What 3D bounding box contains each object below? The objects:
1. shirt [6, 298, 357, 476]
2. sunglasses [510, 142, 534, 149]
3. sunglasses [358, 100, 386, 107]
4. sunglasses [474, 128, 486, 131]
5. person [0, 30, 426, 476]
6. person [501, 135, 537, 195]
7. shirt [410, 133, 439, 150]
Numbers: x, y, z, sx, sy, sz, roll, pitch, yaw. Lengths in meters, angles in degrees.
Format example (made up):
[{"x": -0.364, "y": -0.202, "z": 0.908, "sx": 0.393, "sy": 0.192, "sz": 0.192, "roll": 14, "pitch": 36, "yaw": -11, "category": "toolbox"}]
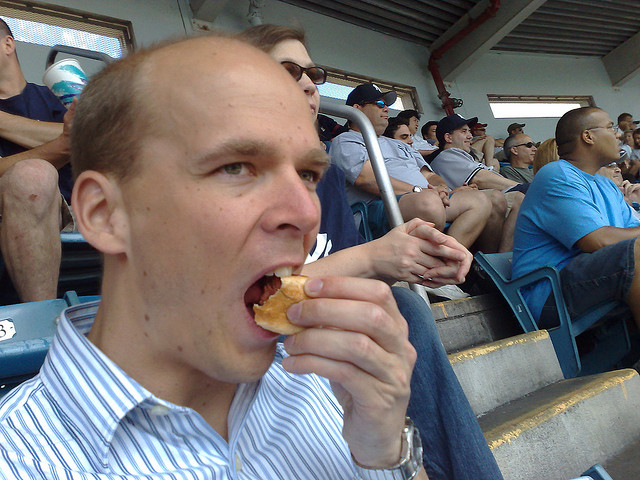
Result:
[{"x": -0.310, "y": 0.390, "z": 1.057, "sx": 0.805, "sy": 0.409, "sz": 0.363, "roll": 0, "pitch": 11, "yaw": -17, "category": "shirt"}, {"x": 3.088, "y": -1.438, "z": 6.544, "sx": 0.314, "sy": 0.088, "sz": 0.092, "roll": 2, "pitch": 10, "yaw": -5, "category": "sunglasses"}, {"x": 0.541, "y": -1.367, "z": 4.328, "sx": 0.239, "sy": 0.068, "sz": 0.065, "roll": 4, "pitch": 10, "yaw": 3, "category": "sunglasses"}, {"x": 3.029, "y": -2.049, "z": 8.034, "sx": 0.100, "sy": 0.027, "sz": 0.096, "roll": -8, "pitch": 21, "yaw": -17, "category": "sunglasses"}, {"x": -0.225, "y": 0.057, "z": 0.999, "sx": 0.949, "sy": 1.087, "sz": 0.398, "roll": 2, "pitch": 11, "yaw": -8, "category": "person"}, {"x": 3.100, "y": -1.191, "z": 6.699, "sx": 0.519, "sy": 0.901, "sz": 1.016, "roll": -4, "pitch": -1, "yaw": 38, "category": "person"}, {"x": 1.489, "y": -1.419, "z": 6.204, "sx": 0.342, "sy": 0.159, "sz": 0.436, "roll": 14, "pitch": 10, "yaw": -5, "category": "shirt"}]
